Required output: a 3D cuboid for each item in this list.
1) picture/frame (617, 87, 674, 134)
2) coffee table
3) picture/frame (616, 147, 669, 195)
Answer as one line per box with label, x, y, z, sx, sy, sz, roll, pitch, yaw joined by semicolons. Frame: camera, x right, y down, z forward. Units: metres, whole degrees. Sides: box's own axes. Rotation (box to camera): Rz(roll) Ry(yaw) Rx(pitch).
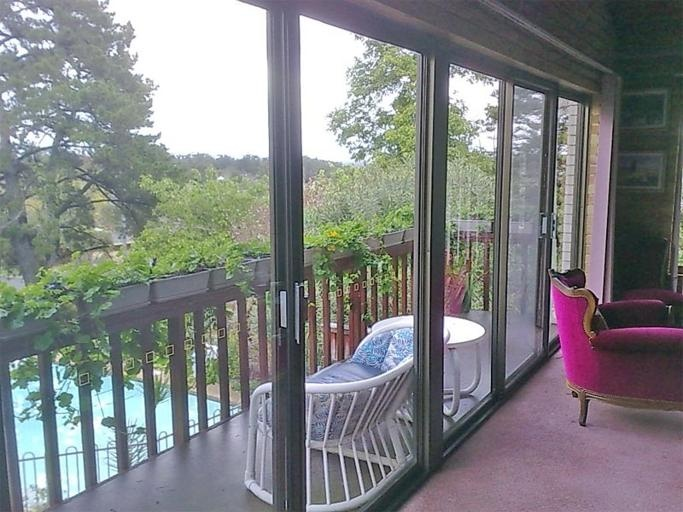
picture/frame;1.588;-0.762;2.821;0.136;0.191;0.281;-8;15;-35
coffee table;0.538;0.672;3.475;0.678;0.499;0.718;3;14;18
picture/frame;1.628;-0.462;2.945;0.301;0.281;0.031;10;28;42
